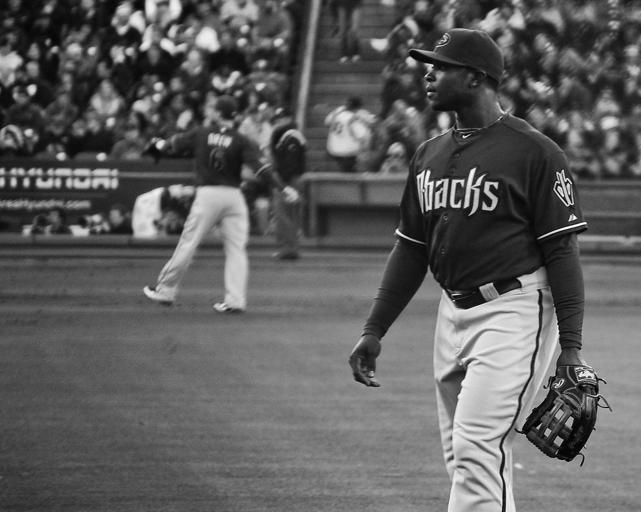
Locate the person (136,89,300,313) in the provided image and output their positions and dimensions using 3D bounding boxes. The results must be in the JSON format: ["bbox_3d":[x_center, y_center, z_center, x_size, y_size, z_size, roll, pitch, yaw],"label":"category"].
[{"bbox_3d":[-1.032,-0.335,11.906,1.203,1.812,0.532,1,11,-6],"label":"person"}]

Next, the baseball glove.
[{"bbox_3d":[1.215,0.766,6.193,0.373,0.460,0.200,28,13,4],"label":"baseball glove"}]

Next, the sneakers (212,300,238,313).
[{"bbox_3d":[-0.918,0.505,12.110,0.245,0.081,0.104,8,8,2],"label":"sneakers"}]

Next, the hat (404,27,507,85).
[{"bbox_3d":[0.681,-1.006,6.267,0.431,0.190,0.276,7,5,-6],"label":"hat"}]

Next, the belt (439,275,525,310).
[{"bbox_3d":[0.817,0.190,6.219,0.235,0.060,0.198,-18,3,6],"label":"belt"}]
